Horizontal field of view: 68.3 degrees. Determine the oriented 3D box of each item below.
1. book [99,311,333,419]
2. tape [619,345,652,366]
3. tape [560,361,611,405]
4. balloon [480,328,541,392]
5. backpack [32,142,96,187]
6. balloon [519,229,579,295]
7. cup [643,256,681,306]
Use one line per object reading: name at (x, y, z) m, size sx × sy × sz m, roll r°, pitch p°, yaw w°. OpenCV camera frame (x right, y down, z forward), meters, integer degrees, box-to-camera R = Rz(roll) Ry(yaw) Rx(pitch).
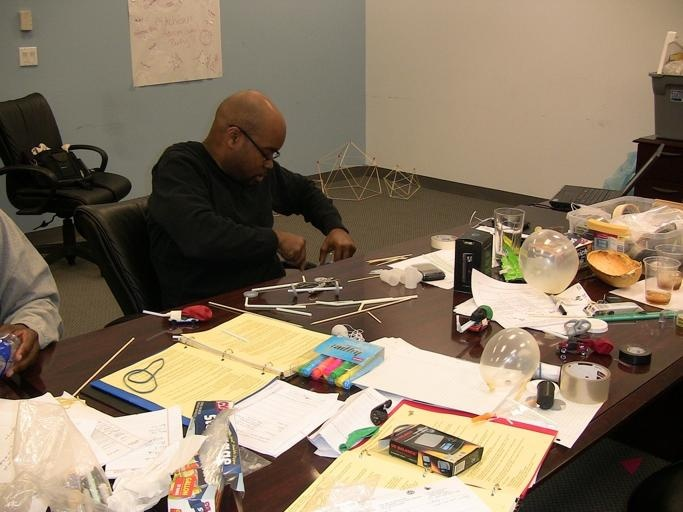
book at (-0.296, 0.261, 1.263) m, size 0.351 × 0.039 × 0.488 m, roll 11°, pitch 23°, yaw 36°
tape at (0.727, 0.242, 1.242) m, size 0.052 × 0.024 × 0.050 m, roll 0°, pitch 10°, yaw -2°
tape at (0.539, 0.277, 1.123) m, size 0.090 × 0.051 × 0.087 m, roll 0°, pitch 18°, yaw -4°
balloon at (0.373, 0.229, 1.186) m, size 0.146 × 0.113 × 0.112 m, roll -42°, pitch -9°, yaw -10°
backpack at (-2.097, -0.687, 3.775) m, size 0.356 × 0.150 × 0.334 m, roll 44°, pitch 29°, yaw 2°
balloon at (0.661, 0.029, 1.692) m, size 0.209 × 0.198 × 0.231 m, roll -2°, pitch 60°, yaw 26°
cup at (0.996, 0.082, 1.622) m, size 0.104 × 0.171 × 0.111 m, roll -3°, pitch 20°, yaw 1°
